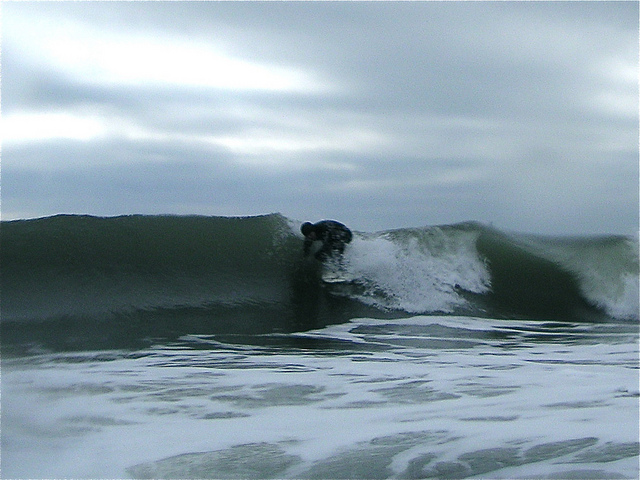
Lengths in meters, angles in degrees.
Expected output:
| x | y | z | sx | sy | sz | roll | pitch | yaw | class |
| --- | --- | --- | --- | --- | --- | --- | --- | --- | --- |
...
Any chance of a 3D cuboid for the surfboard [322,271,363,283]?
| x | y | z | sx | sy | sz | roll | pitch | yaw | class |
| --- | --- | --- | --- | --- | --- | --- | --- | --- | --- |
| 0.256 | 0.484 | 11.178 | 0.563 | 0.044 | 0.143 | -1 | 40 | -13 | surfboard |
